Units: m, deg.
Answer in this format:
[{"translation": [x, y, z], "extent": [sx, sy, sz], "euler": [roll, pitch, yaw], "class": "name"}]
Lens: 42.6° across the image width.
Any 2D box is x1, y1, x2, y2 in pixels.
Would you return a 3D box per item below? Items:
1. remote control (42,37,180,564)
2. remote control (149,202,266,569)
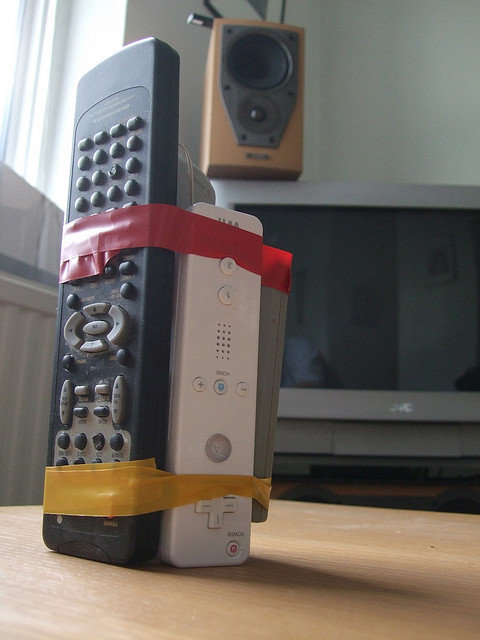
[{"translation": [-0.081, -0.010, 0.417], "extent": [0.047, 0.331, 0.116], "euler": [7, -6, -42], "class": "remote control"}, {"translation": [-0.008, 0.043, 0.418], "extent": [0.054, 0.225, 0.132], "euler": [-4, -15, 26], "class": "remote control"}]
